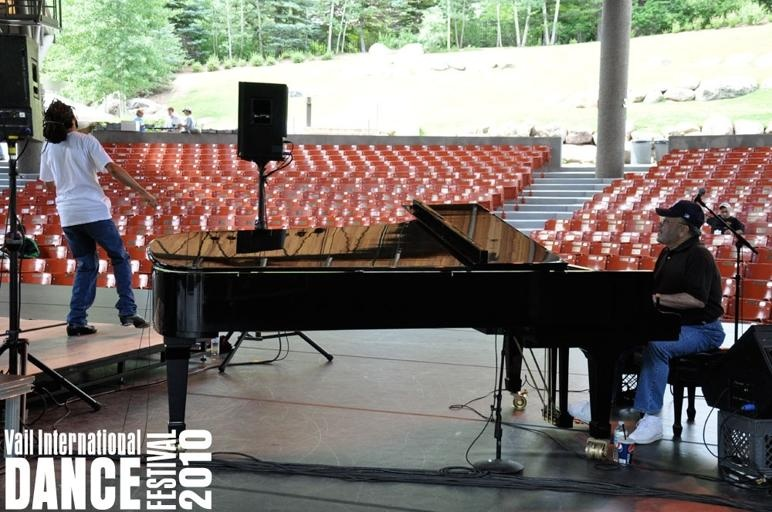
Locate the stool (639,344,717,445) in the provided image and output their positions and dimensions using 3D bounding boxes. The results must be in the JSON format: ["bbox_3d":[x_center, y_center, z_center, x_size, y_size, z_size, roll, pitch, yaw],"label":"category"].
[{"bbox_3d":[2.754,1.183,7.271,0.785,0.856,0.993,1,-2,0],"label":"stool"}]

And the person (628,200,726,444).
[{"bbox_3d":[2.546,0.447,7.049,1.093,2.082,0.790,1,3,4],"label":"person"}]

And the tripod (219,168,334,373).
[{"bbox_3d":[-1.342,0.105,8.497,1.223,1.953,1.428,-2,6,-23],"label":"tripod"}]

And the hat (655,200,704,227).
[{"bbox_3d":[2.510,-0.373,7.062,0.410,0.166,0.236,7,5,12],"label":"hat"}]

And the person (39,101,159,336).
[{"bbox_3d":[-2.686,-0.293,7.814,0.977,2.084,1.285,0,0,41],"label":"person"}]

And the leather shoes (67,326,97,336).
[{"bbox_3d":[-2.893,0.714,7.899,0.293,0.097,0.095,0,3,-20],"label":"leather shoes"}]

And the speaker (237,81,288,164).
[{"bbox_3d":[-1.278,-1.364,8.605,0.521,0.836,0.401,-2,8,-19],"label":"speaker"}]

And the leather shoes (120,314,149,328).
[{"bbox_3d":[-2.393,0.621,7.837,0.323,0.112,0.135,1,-1,-11],"label":"leather shoes"}]
